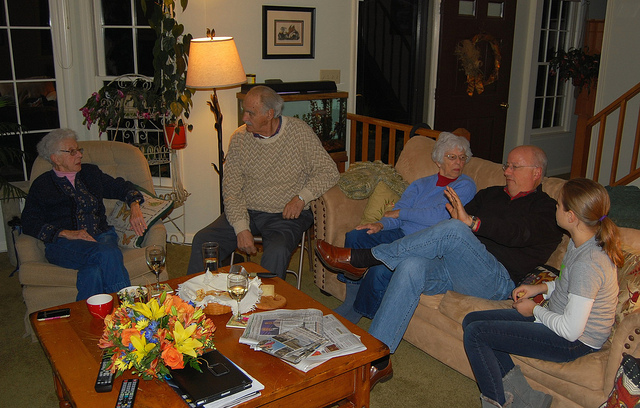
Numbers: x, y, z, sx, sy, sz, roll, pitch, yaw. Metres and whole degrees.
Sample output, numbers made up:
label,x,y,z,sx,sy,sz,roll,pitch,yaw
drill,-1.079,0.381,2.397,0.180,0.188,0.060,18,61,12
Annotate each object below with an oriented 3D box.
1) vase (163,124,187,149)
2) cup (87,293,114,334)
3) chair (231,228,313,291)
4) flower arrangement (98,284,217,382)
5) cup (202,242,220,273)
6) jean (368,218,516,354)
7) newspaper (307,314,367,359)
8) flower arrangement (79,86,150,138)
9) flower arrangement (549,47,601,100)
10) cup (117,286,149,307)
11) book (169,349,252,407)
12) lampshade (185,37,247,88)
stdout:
label,x,y,z,sx,sy,sz,roll,pitch,yaw
vase,-1.440,-0.698,4.589,0.230,0.267,0.235,-2,8,-3
cup,-1.309,0.661,2.664,0.116,0.177,0.181,-1,34,-15
chair,-0.417,0.488,4.162,0.514,0.982,0.652,0,1,8
flower arrangement,-0.840,0.714,2.363,0.432,0.270,0.417,0,-20,-42
cup,-0.734,0.397,3.087,0.142,0.231,0.143,-3,-7,0
jean,0.764,0.516,3.351,1.612,0.744,0.846,-6,6,-37
newspaper,0.050,0.791,2.598,0.365,0.041,0.401,-10,15,-18
flower arrangement,-2.052,-0.985,4.749,0.835,0.475,0.606,7,-8,31
flower arrangement,3.864,-2.069,6.826,0.640,0.246,0.506,-7,-8,-36
cup,-1.159,0.534,2.770,0.147,0.117,0.161,2,8,0
book,-0.558,0.901,2.289,0.239,0.061,0.245,-17,31,-36
lampshade,-0.958,-1.253,3.993,0.452,0.329,0.464,-3,13,-4
